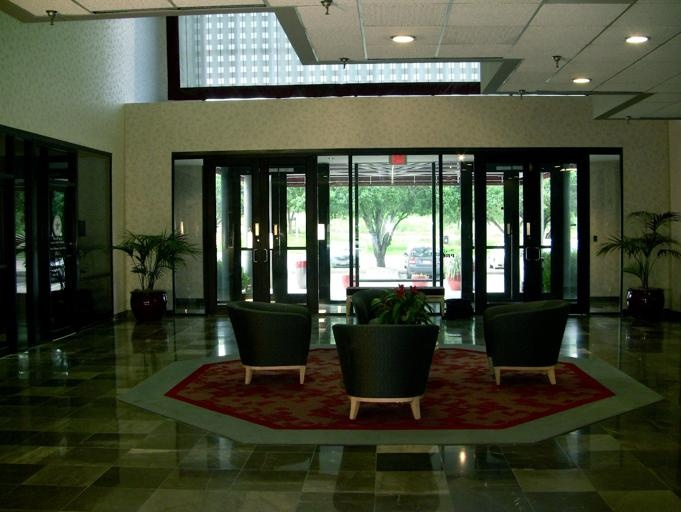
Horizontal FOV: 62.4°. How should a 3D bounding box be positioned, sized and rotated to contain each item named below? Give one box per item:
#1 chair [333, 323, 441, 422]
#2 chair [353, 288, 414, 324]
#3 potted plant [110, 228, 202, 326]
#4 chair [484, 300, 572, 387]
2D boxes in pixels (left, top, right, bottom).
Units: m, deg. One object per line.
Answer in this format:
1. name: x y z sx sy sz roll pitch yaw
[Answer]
1. chair: 0.483 1.025 5.649 1.112 0.833 0.958 0 0 6
2. chair: 0.521 0.637 7.407 0.608 0.590 0.576 0 -10 -3
3. potted plant: -3.459 0.351 10.733 1.391 1.603 1.173 -2 6 -17
4. chair: 2.084 1.005 6.739 1.055 0.936 0.990 1 -5 6
